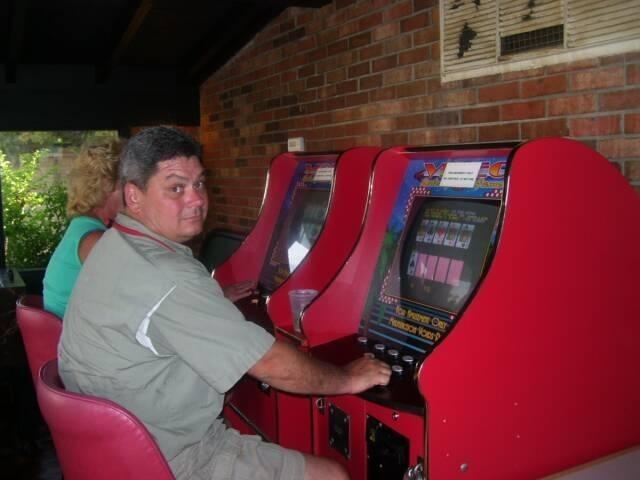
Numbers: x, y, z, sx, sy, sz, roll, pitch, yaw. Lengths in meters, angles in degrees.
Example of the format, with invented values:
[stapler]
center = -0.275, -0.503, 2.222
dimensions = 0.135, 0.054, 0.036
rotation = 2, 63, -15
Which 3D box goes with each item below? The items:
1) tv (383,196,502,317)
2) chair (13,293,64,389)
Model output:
[tv]
center = 0.458, 0.071, 1.730
dimensions = 0.053, 0.476, 0.439
rotation = 23, -7, -37
[chair]
center = -1.114, 0.393, 1.910
dimensions = 0.173, 0.199, 0.167
rotation = 0, -9, -25
